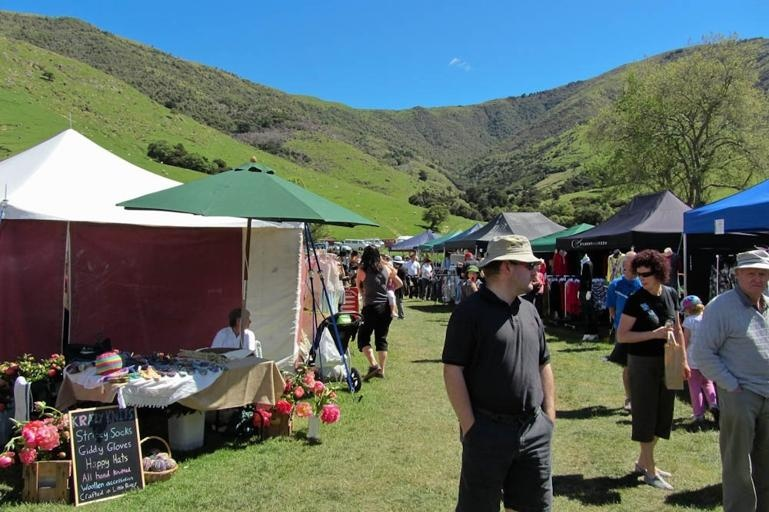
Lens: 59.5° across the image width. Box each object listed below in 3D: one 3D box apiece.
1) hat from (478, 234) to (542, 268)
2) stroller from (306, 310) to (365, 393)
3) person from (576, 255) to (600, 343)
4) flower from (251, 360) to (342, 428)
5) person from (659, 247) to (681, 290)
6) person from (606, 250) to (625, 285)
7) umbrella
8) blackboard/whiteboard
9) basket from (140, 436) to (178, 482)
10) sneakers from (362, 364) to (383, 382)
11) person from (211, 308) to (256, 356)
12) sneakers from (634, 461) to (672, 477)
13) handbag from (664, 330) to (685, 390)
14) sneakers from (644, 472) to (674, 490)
[{"bbox_3d":[1.386,-0.067,7.315,0.759,0.308,0.712,-3,2,21],"label":"hat"},{"bbox_3d":[-0.762,1.575,11.456,0.792,1.248,0.774,-8,-2,6],"label":"stroller"},{"bbox_3d":[4.598,0.996,15.056,0.426,1.866,0.798,2,13,11],"label":"person"},{"bbox_3d":[-1.172,2.102,9.863,0.933,0.676,0.890,-2,-23,-19],"label":"flower"},{"bbox_3d":[5.981,0.278,14.069,0.478,1.148,0.321,9,40,37],"label":"person"},{"bbox_3d":[5.100,0.227,14.863,0.316,0.815,0.142,2,41,15],"label":"person"},{"bbox_3d":[-2.033,-0.168,9.743,2.455,1.779,2.492,3,3,19],"label":"umbrella"},{"bbox_3d":[-3.500,2.540,8.417,1.122,1.559,0.056,-1,-18,-31],"label":"blackboard/whiteboard"},{"bbox_3d":[-2.983,2.615,8.780,0.518,0.517,0.538,3,4,-6],"label":"basket"},{"bbox_3d":[-0.176,2.067,12.004,0.427,0.188,0.164,-39,-36,24],"label":"sneakers"},{"bbox_3d":[-2.277,1.172,10.112,0.721,0.782,0.488,4,-4,-26],"label":"person"},{"bbox_3d":[3.448,2.773,8.710,0.495,0.207,0.172,0,3,14],"label":"sneakers"},{"bbox_3d":[3.565,1.312,8.255,0.256,0.747,0.296,6,14,25],"label":"handbag"},{"bbox_3d":[3.468,2.854,8.544,0.298,0.122,0.158,7,6,23],"label":"sneakers"}]
